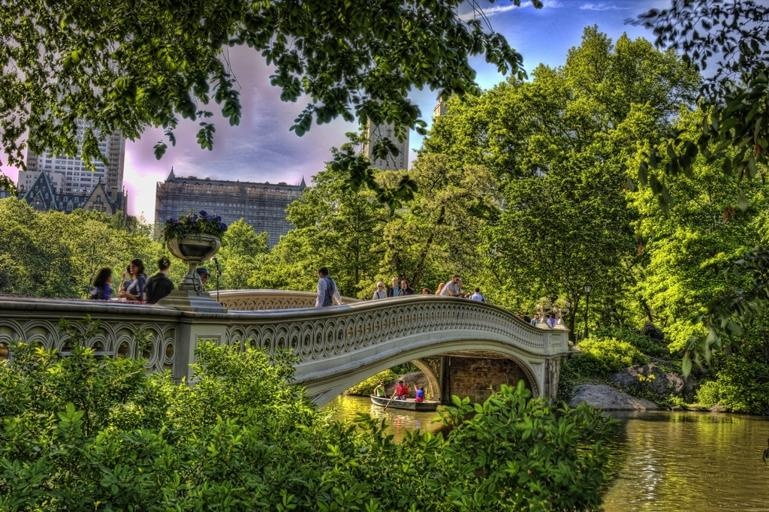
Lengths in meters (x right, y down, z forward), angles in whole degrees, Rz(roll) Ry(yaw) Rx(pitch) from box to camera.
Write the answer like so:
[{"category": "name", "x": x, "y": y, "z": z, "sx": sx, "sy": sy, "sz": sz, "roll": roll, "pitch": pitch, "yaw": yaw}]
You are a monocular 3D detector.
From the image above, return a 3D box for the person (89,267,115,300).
[{"category": "person", "x": -5.210, "y": 0.596, "z": 17.541, "sx": 0.393, "sy": 0.493, "sz": 1.250, "roll": -1, "pitch": -29, "yaw": -15}]

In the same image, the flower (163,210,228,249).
[{"category": "flower", "x": -3.154, "y": -0.496, "z": 15.415, "sx": 0.673, "sy": 0.403, "sz": 0.696, "roll": -5, "pitch": -7, "yaw": 36}]

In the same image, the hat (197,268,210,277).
[{"category": "hat", "x": -3.454, "y": 0.256, "z": 17.827, "sx": 0.307, "sy": 0.190, "sz": 0.242, "roll": 1, "pitch": 6, "yaw": -6}]

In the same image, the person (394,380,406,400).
[{"category": "person", "x": 0.650, "y": 4.861, "z": 33.865, "sx": 0.438, "sy": 0.731, "sz": 0.502, "roll": 4, "pitch": -8, "yaw": -4}]

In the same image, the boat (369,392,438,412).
[{"category": "boat", "x": 0.732, "y": 5.156, "z": 32.937, "sx": 2.385, "sy": 0.632, "sz": 0.944, "roll": -12, "pitch": -17, "yaw": 43}]
